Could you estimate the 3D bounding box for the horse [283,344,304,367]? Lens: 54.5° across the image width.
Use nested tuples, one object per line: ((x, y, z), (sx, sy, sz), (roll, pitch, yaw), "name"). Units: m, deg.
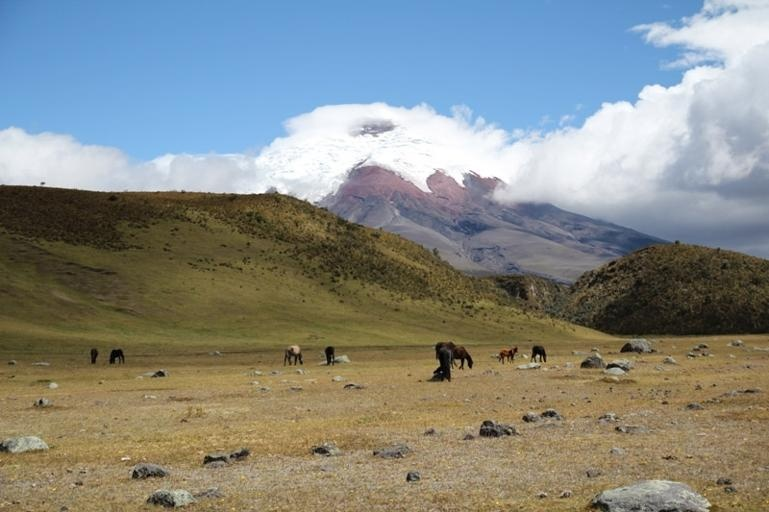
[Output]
((-9.216, 9.983, 76.010), (1.921, 1.990, 3.884), (-3, 4, -7), "horse")
